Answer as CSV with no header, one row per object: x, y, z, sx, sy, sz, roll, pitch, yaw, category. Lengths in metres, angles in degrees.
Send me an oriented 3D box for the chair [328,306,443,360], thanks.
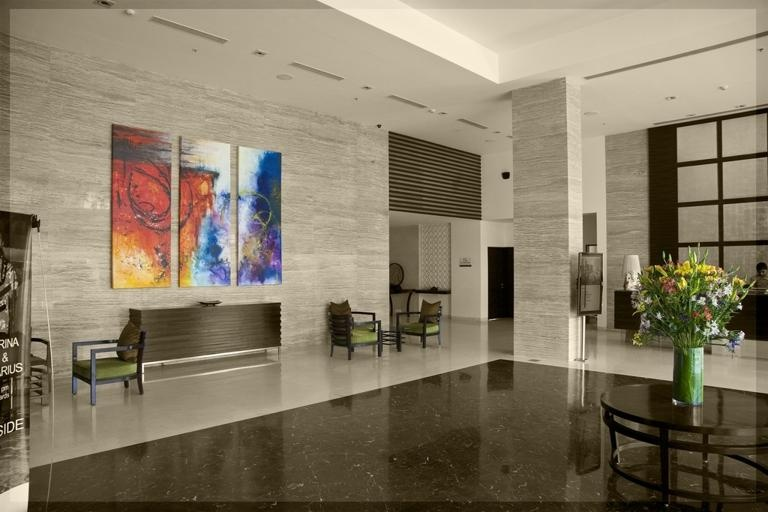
-0.053,1.538,10.855,2.171,0.808,1.082,-1,1,-38,chair

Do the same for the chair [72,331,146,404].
-4.147,1.599,7.713,1.155,1.051,1.164,4,-7,-39,chair

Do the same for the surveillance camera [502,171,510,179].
3.520,-2.311,14.828,0.241,0.194,0.061,2,-4,43,surveillance camera
